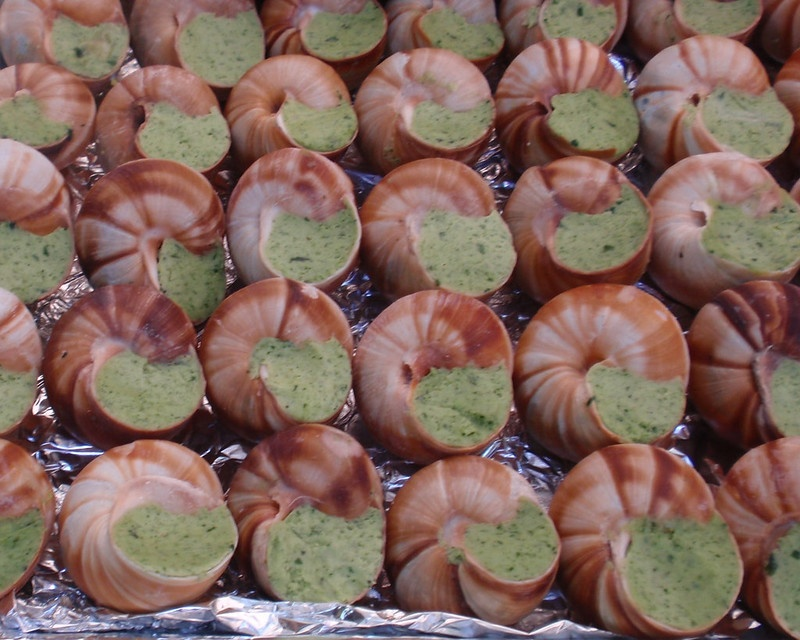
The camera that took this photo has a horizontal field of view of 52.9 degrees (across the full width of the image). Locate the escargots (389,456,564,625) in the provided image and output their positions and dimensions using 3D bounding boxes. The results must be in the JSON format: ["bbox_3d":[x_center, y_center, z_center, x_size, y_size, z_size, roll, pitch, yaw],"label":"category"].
[{"bbox_3d":[0.106,0.353,1.278,0.247,0.115,0.251,-42,76,-12],"label":"escargots"}]

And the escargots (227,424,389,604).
[{"bbox_3d":[-0.172,0.326,1.327,0.287,0.147,0.316,17,41,-31],"label":"escargots"}]

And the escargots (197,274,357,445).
[{"bbox_3d":[-0.228,0.054,1.437,0.292,0.132,0.286,-22,102,9],"label":"escargots"}]

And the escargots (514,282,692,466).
[{"bbox_3d":[0.355,0.088,1.441,0.303,0.129,0.295,-6,68,-3],"label":"escargots"}]

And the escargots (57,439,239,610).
[{"bbox_3d":[-0.415,0.328,1.302,0.282,0.128,0.308,21,37,-17],"label":"escargots"}]

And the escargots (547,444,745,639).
[{"bbox_3d":[0.388,0.358,1.272,0.288,0.131,0.277,7,84,1],"label":"escargots"}]
